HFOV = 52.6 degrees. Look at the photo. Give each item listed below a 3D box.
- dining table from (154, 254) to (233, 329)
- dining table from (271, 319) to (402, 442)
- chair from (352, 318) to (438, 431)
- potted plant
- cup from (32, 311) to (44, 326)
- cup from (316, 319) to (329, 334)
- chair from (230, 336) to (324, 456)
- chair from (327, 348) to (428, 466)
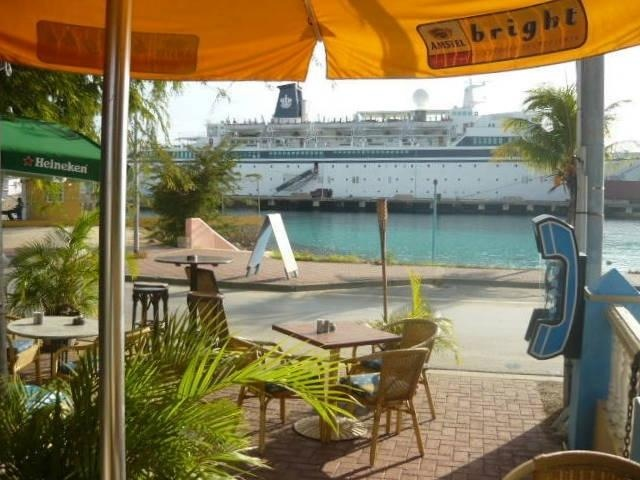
[{"bbox_3d":[-1.824,0.668,9.364,0.948,1.100,1.038,0,4,-2],"label":"dining table"},{"bbox_3d":[0.060,1.350,6.178,1.173,1.272,1.192,-2,9,-30],"label":"dining table"},{"bbox_3d":[0.748,1.289,6.272,0.782,0.984,0.860,1,8,9],"label":"chair"},{"bbox_3d":[-3.507,0.468,8.784,1.623,2.174,1.937,1,-5,-7],"label":"potted plant"},{"bbox_3d":[-2.738,0.749,6.304,0.104,0.140,0.120,5,9,6],"label":"cup"},{"bbox_3d":[0.007,0.782,6.044,0.112,0.128,0.115,1,6,0],"label":"cup"},{"bbox_3d":[-0.438,1.356,5.720,0.621,0.883,0.686,-5,-2,23],"label":"chair"},{"bbox_3d":[0.585,1.437,5.911,0.871,1.255,0.877,-1,3,-29],"label":"chair"}]
